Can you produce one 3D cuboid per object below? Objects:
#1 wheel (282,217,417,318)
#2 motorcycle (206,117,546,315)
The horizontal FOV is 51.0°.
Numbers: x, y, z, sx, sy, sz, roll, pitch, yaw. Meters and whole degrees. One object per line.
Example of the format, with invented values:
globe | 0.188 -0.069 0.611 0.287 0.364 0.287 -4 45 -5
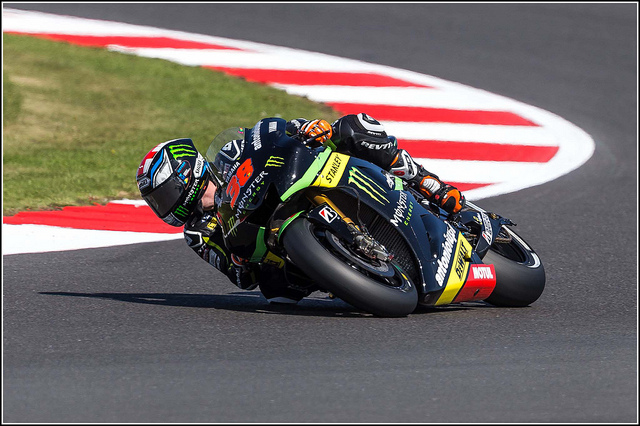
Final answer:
wheel | 0.174 0.385 4.655 0.804 0.206 0.812 24 5 -2
motorcycle | 0.483 0.075 5.464 3.153 1.012 1.751 8 19 -43
